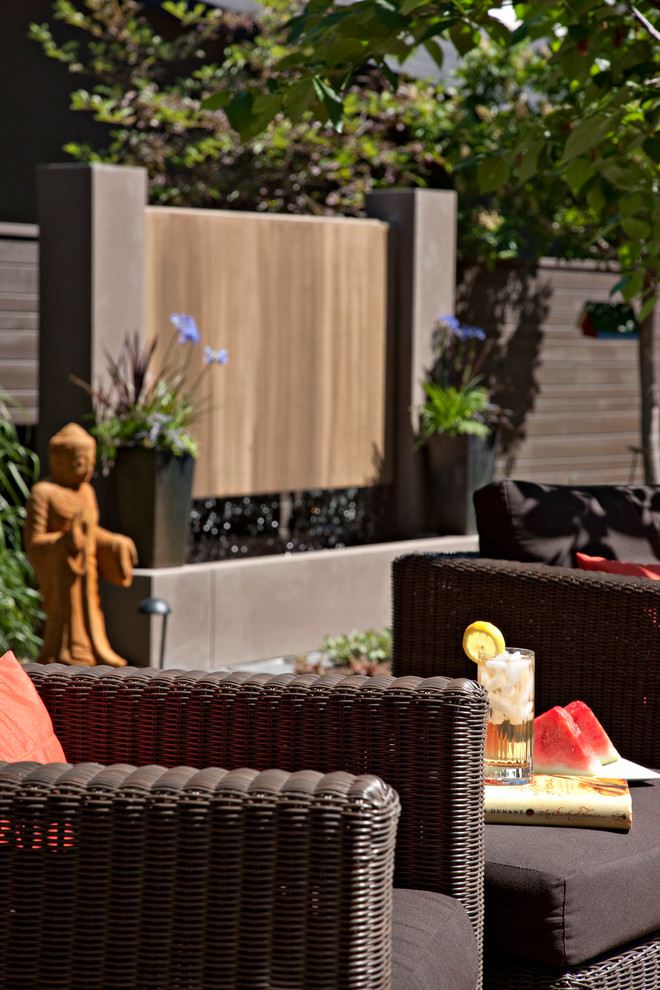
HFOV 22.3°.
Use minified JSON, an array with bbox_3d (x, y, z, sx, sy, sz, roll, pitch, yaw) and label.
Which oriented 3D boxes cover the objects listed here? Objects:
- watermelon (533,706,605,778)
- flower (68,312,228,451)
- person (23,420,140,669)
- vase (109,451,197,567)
[{"bbox_3d":[0.413,0.433,2.974,0.168,0.101,0.143,0,7,8],"label":"watermelon"},{"bbox_3d":[-0.558,-0.375,5.692,0.371,0.468,0.705,2,4,23],"label":"flower"},{"bbox_3d":[-0.736,0.158,4.926,0.262,0.694,0.319,6,8,29],"label":"person"},{"bbox_3d":[-0.582,0.025,5.571,0.220,0.424,0.204,9,10,36],"label":"vase"}]
